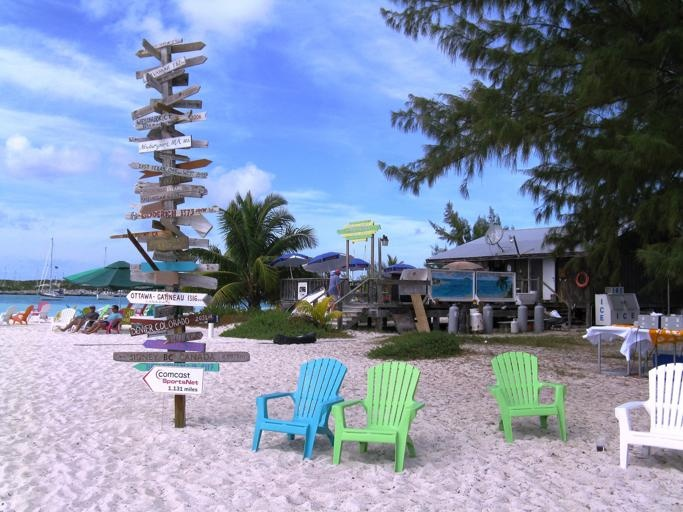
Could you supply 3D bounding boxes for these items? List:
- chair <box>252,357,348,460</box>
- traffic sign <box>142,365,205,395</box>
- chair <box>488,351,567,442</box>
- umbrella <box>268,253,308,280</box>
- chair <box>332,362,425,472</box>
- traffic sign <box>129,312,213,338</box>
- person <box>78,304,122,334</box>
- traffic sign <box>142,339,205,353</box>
[{"bbox_3d":[-0.510,1.820,7.106,0.955,1.077,1.171,-4,-5,30],"label":"chair"},{"bbox_3d":[-2.179,1.602,7.366,0.727,0.354,0.030,0,-1,8],"label":"traffic sign"},{"bbox_3d":[2.439,1.864,7.545,0.916,1.001,1.013,1,1,9],"label":"chair"},{"bbox_3d":[-2.308,0.207,25.801,1.982,1.250,1.922,-3,-13,1],"label":"umbrella"},{"bbox_3d":[0.439,1.834,6.688,1.014,1.047,1.124,1,1,8],"label":"chair"},{"bbox_3d":[-2.277,0.917,7.616,0.370,0.264,1.100,2,1,42],"label":"traffic sign"},{"bbox_3d":[-8.163,2.125,19.295,1.201,1.015,1.218,0,1,-21],"label":"person"},{"bbox_3d":[-2.239,1.182,7.538,0.857,0.168,0.303,1,1,10],"label":"traffic sign"}]
